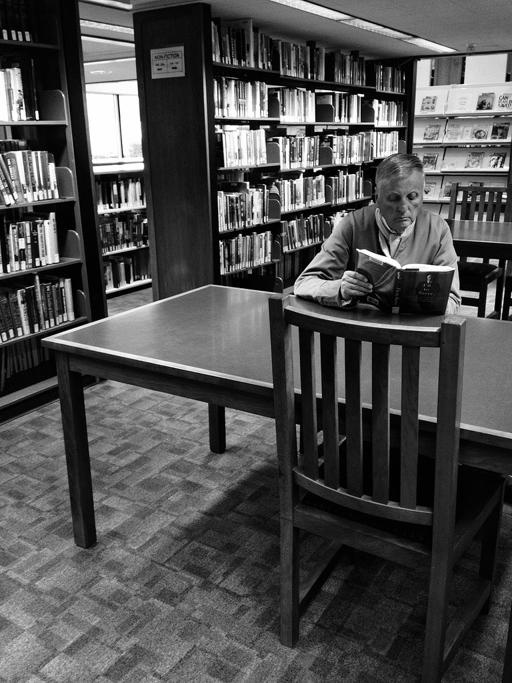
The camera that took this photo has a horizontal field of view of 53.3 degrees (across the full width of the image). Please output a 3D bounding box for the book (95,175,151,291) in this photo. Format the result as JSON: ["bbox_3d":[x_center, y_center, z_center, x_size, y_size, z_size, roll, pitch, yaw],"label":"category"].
[{"bbox_3d":[-1.239,-1.035,4.714,0.308,1.025,0.994,-2,23,-7],"label":"book"}]
